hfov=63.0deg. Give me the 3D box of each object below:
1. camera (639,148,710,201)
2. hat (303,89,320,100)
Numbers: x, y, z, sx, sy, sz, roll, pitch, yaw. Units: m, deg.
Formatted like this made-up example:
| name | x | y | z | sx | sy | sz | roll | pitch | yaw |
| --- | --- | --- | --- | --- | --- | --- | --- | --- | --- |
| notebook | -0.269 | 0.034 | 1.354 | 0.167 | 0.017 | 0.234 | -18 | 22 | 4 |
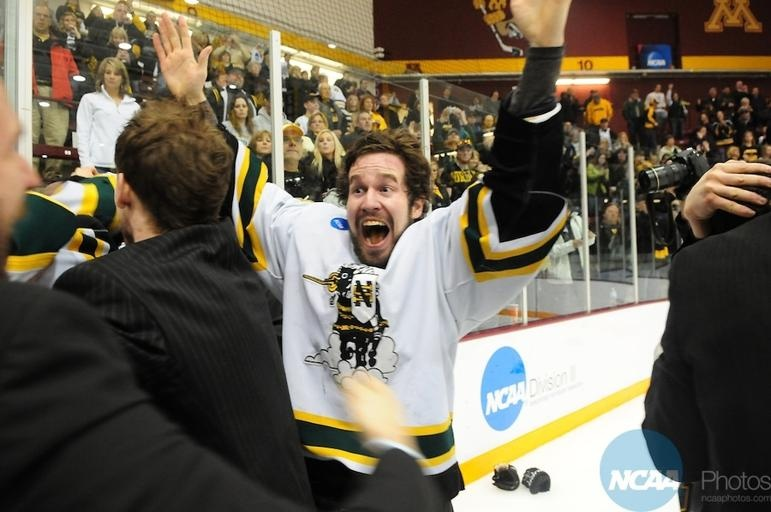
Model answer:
| name | x | y | z | sx | sy | sz | roll | pitch | yaw |
| --- | --- | --- | --- | --- | --- | --- | --- | --- | --- |
| camera | 1.159 | -0.337 | 2.494 | 0.282 | 0.148 | 0.231 | -16 | -4 | -40 |
| hat | -0.506 | -1.095 | 4.275 | 0.061 | 0.079 | 0.076 | 36 | -11 | -38 |
